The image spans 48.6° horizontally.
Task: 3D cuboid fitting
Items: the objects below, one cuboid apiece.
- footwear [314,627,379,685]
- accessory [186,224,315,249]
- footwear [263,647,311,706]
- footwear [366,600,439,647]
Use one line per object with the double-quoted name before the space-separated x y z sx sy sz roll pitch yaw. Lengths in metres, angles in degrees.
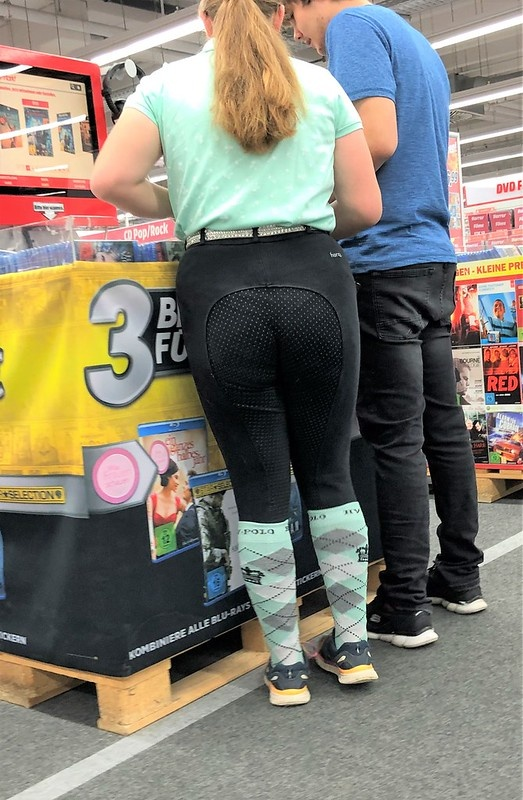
"footwear" 0.188 0.558 1.297 0.075 0.082 0.173 -7 9 -12
"accessory" -0.014 -0.309 1.067 0.215 0.039 0.048 -6 -6 0
"footwear" 0.055 0.574 1.231 0.055 0.060 0.134 -3 9 1
"footwear" 0.357 0.559 1.546 0.083 0.110 0.221 -3 6 -32
